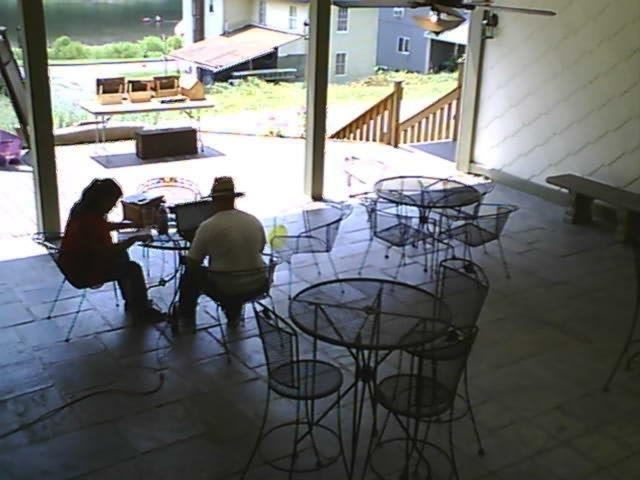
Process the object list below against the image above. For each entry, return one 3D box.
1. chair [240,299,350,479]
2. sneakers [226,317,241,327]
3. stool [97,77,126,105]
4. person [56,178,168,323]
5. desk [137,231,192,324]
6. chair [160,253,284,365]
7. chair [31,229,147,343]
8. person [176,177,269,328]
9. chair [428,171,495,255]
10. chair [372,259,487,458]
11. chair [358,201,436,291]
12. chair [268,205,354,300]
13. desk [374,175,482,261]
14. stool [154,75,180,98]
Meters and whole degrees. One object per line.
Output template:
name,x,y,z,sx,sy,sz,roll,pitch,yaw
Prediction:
chair,-0.173,1.097,3.838,0.754,1.377,0.631,7,25,15
sneakers,-0.801,0.754,5.031,0.109,0.107,0.109,-2,24,8
stool,-3.809,-2.715,9.840,0.521,0.440,0.270,-7,40,-19
person,-1.973,0.140,5.010,0.666,1.400,0.902,20,30,38
desk,-1.502,0.380,5.235,0.598,0.642,0.571,20,29,13
chair,-0.819,0.637,4.739,0.600,0.492,0.695,11,-4,19
chair,-2.125,0.365,5.244,1.355,1.016,1.166,-4,1,-43
person,-0.873,0.229,4.582,0.842,1.453,0.673,-4,28,-8
chair,1.698,-0.296,6.558,0.752,0.954,0.933,-3,47,-3
chair,0.796,0.911,3.911,0.702,1.338,0.687,-8,33,-1
chair,0.888,-0.117,5.918,0.638,0.748,0.654,-11,20,-4
chair,-0.006,0.091,6.082,0.909,0.888,0.926,-22,22,-35
desk,1.151,-0.216,6.548,1.262,0.711,1.145,-1,34,0
stool,-2.975,-2.991,10.532,0.511,0.425,0.433,-6,46,-18
